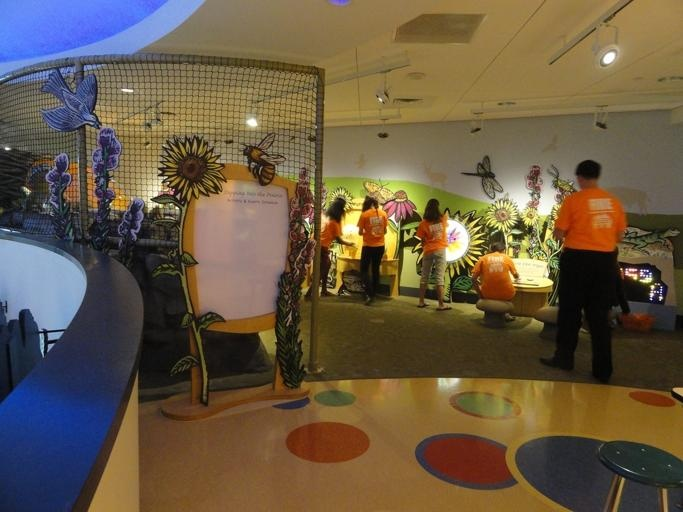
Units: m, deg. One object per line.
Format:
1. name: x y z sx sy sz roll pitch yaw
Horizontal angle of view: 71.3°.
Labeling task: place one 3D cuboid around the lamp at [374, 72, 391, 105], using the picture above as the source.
1. lamp: 0.523 -2.121 5.975 0.174 0.382 0.183 7 -26 4

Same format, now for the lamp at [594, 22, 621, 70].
1. lamp: 2.528 -1.954 4.507 0.208 0.401 0.766 6 9 29

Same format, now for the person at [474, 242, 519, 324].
1. person: 2.144 0.254 6.478 0.655 1.088 0.530 -11 14 -41

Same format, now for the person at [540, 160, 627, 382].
1. person: 2.150 0.230 4.213 0.547 1.642 0.270 5 8 28

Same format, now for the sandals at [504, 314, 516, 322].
1. sandals: 2.331 0.835 6.559 0.105 0.063 0.154 2 7 8

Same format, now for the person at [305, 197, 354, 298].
1. person: -0.179 -0.152 8.142 0.659 1.634 0.924 8 10 42

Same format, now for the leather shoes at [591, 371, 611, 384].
1. leather shoes: 2.284 1.039 4.139 0.086 0.079 0.116 0 -11 3

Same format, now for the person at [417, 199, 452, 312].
1. person: 1.408 -0.049 7.180 0.520 1.604 0.671 2 7 7

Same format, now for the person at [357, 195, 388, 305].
1. person: 0.465 -0.103 7.528 0.417 1.611 0.546 4 8 20

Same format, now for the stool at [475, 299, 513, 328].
1. stool: 1.953 0.685 6.017 0.372 0.284 0.385 2 6 43
